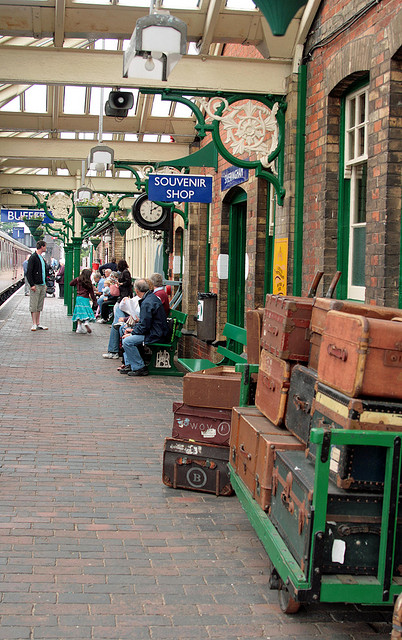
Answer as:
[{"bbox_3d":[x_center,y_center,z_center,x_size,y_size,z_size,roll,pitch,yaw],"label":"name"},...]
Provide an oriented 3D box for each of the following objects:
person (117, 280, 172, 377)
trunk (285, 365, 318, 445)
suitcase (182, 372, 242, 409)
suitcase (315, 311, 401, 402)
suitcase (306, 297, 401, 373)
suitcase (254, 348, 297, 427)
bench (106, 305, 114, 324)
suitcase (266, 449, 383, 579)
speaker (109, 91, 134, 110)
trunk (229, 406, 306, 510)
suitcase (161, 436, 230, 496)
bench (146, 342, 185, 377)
[{"bbox_3d":[-1.042,0.157,9.735,0.887,1.536,0.587,2,0,40],"label":"person"},{"bbox_3d":[0.499,0.415,2.690,0.159,0.340,0.382,3,3,-11],"label":"trunk"},{"bbox_3d":[0.095,0.542,4.390,0.373,0.168,0.261,6,-6,6],"label":"suitcase"},{"bbox_3d":[0.569,0.141,2.062,0.292,0.313,0.453,2,-1,-8],"label":"suitcase"},{"bbox_3d":[0.736,-0.014,2.776,0.360,0.414,0.622,1,3,-8],"label":"suitcase"},{"bbox_3d":[0.440,0.398,3.184,0.271,0.295,0.420,7,5,-10],"label":"suitcase"},{"bbox_3d":[-3.323,-0.212,19.796,0.240,0.602,1.005,2,0,-13],"label":"bench"},{"bbox_3d":[0.496,0.754,2.147,0.324,0.245,0.505,3,-1,-8],"label":"suitcase"},{"bbox_3d":[-1.243,-3.430,8.501,0.368,0.273,0.269,-1,20,-11],"label":"speaker"},{"bbox_3d":[0.466,0.805,3.248,0.491,0.392,0.796,3,5,-16],"label":"trunk"},{"bbox_3d":[0.000,1.116,4.313,0.563,0.397,0.328,5,7,13],"label":"suitcase"},{"bbox_3d":[-0.683,0.727,9.941,0.628,0.532,0.219,1,4,10],"label":"bench"}]
